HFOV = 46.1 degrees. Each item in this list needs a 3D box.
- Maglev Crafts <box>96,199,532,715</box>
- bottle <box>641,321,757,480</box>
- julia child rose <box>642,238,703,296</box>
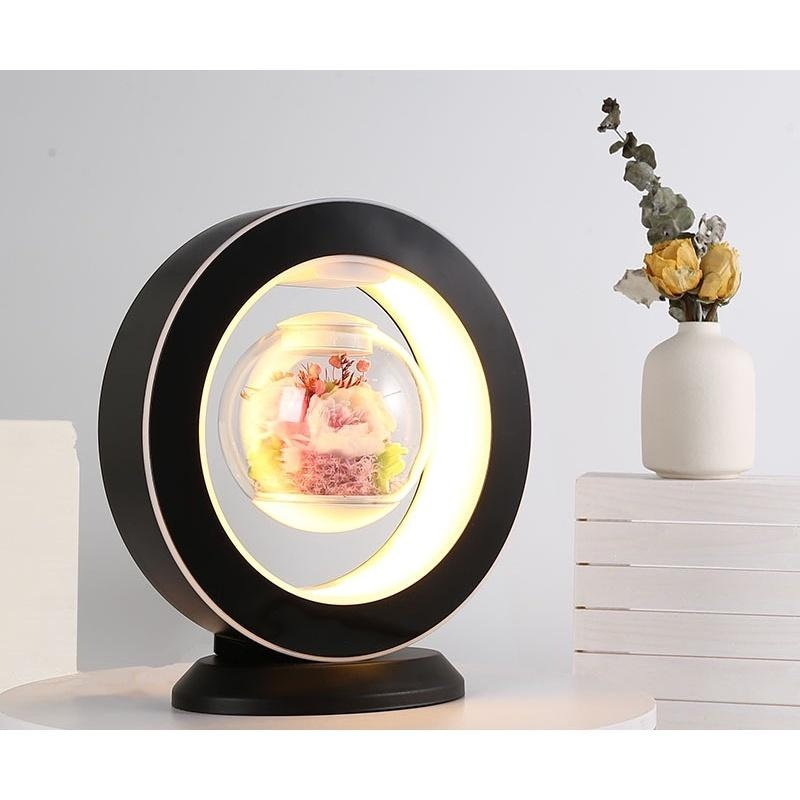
[{"bbox_3d":[-0.101,0.068,1.191,0.497,0.618,0.215,1,-2,-30],"label":"Maglev Crafts"},{"bbox_3d":[0.447,-0.002,1.461,0.189,0.249,0.182,0,0,0],"label":"bottle"},{"bbox_3d":[0.411,-0.202,1.443,0.069,0.089,0.093,1,-2,-30],"label":"julia child rose"}]
